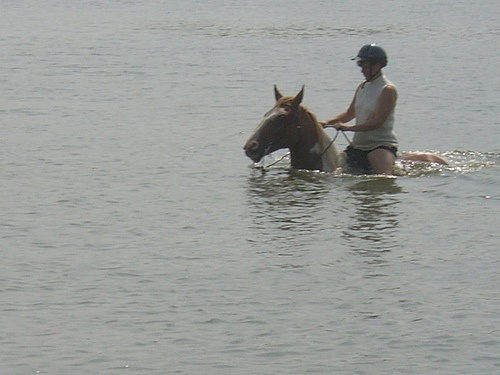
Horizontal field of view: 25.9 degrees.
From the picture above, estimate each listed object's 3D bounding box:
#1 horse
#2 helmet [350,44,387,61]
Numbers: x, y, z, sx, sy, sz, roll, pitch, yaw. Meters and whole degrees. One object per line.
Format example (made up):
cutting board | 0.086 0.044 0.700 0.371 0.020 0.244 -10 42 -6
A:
horse | 0.885 -1.030 20.329 2.206 1.679 0.508 -6 24 -25
helmet | 2.245 -2.563 20.397 0.637 0.218 0.352 0 6 -12
